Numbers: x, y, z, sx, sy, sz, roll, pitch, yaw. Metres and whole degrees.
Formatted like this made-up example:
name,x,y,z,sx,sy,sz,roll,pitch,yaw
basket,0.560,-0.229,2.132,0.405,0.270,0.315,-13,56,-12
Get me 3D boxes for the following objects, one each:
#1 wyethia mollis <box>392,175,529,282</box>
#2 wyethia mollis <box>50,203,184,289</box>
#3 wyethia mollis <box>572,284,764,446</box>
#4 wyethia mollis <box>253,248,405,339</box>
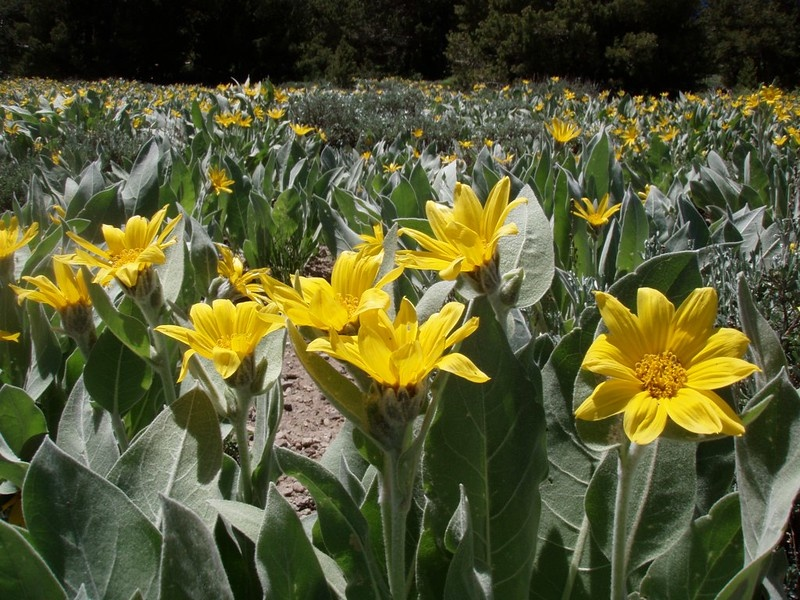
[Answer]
name,x,y,z,sx,sy,sz,roll,pitch,yaw
wyethia mollis,0.144,-0.136,1.569,0.316,0.173,0.334,1,-10,-18
wyethia mollis,-0.720,-0.122,1.816,0.276,0.241,0.416,3,14,-7
wyethia mollis,0.500,0.133,1.293,0.304,0.300,0.230,8,13,19
wyethia mollis,-0.113,-0.001,1.416,0.291,0.159,0.257,-13,21,-29
